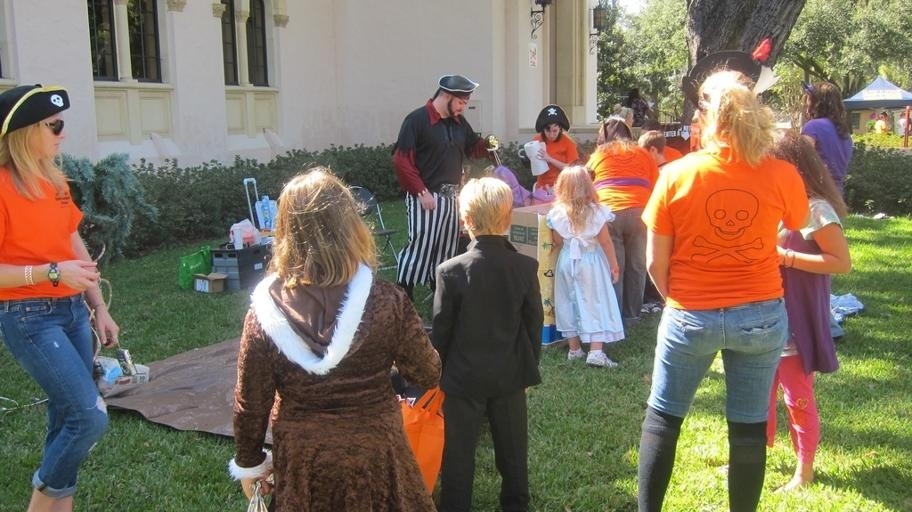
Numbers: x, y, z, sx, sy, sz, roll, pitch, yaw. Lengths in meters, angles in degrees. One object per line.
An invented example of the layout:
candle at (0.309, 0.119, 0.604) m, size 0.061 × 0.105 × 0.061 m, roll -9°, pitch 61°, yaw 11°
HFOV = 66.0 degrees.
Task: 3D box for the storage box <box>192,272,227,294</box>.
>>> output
storage box at (-3.671, 0.420, 10.617) m, size 0.388 × 0.218 × 0.310 m, roll -1°, pitch -4°, yaw 33°

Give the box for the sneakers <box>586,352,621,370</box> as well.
sneakers at (1.675, 1.193, 8.002) m, size 0.383 × 0.187 × 0.155 m, roll 2°, pitch 3°, yaw -11°

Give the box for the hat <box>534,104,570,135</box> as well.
hat at (1.300, -1.958, 10.130) m, size 0.471 × 0.509 × 0.146 m, roll 1°, pitch 2°, yaw -17°

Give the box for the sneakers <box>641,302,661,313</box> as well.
sneakers at (2.639, 0.702, 9.506) m, size 0.159 × 0.071 × 0.189 m, roll -1°, pitch 12°, yaw 5°

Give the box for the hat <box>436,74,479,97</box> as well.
hat at (0.023, -1.974, 8.463) m, size 0.368 × 0.143 × 0.349 m, roll 2°, pitch 41°, yaw -10°

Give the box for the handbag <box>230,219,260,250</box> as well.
handbag at (-3.286, -0.355, 10.995) m, size 0.434 × 0.466 × 0.370 m, roll -6°, pitch 17°, yaw -17°

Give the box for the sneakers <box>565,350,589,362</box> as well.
sneakers at (1.392, 1.161, 8.192) m, size 0.088 × 0.111 × 0.250 m, roll 3°, pitch 7°, yaw 28°

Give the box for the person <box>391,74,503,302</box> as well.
person at (-0.151, -0.755, 8.841) m, size 1.179 × 2.984 × 0.954 m, roll -10°, pitch 22°, yaw -37°

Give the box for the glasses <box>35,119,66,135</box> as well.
glasses at (-3.276, -1.044, 5.682) m, size 0.126 × 0.057 × 0.110 m, roll 15°, pitch 11°, yaw 21°

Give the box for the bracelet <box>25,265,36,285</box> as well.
bracelet at (-3.302, 0.154, 5.500) m, size 0.105 × 0.114 × 0.107 m, roll 3°, pitch 3°, yaw -17°

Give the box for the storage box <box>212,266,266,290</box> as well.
storage box at (-3.291, 0.336, 10.769) m, size 0.718 × 0.478 × 0.748 m, roll 0°, pitch 0°, yaw 25°

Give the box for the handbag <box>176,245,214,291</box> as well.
handbag at (-4.027, 0.135, 10.766) m, size 0.499 × 0.767 × 0.736 m, roll 3°, pitch 4°, yaw 25°
